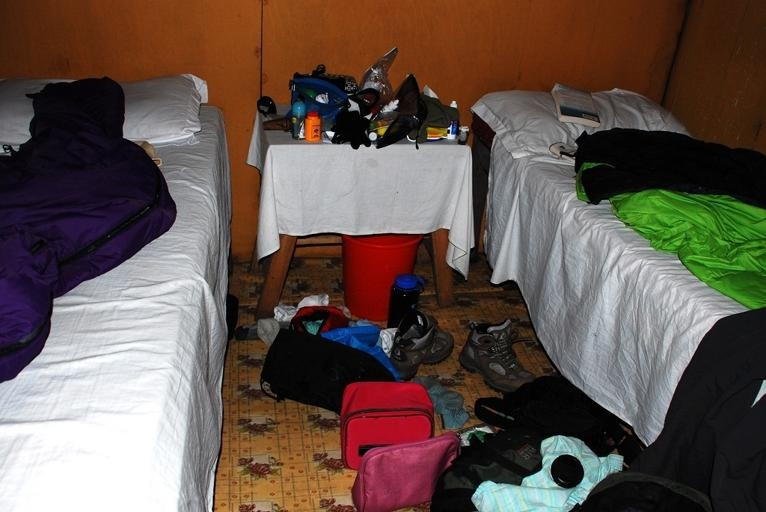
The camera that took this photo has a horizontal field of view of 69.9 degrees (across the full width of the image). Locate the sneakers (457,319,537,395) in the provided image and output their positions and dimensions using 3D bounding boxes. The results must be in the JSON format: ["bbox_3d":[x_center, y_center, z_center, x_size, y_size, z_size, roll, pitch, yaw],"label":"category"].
[{"bbox_3d":[0.516,0.455,2.469,0.159,0.252,0.390,-20,36,-39],"label":"sneakers"}]

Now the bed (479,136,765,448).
[{"bbox_3d":[0.801,0.112,2.256,0.656,0.311,1.045,-13,55,-7],"label":"bed"}]

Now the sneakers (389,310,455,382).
[{"bbox_3d":[0.170,0.392,2.555,0.220,0.230,0.470,21,21,34],"label":"sneakers"}]

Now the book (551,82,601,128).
[{"bbox_3d":[0.984,-0.722,2.827,0.202,0.067,0.299,8,45,-10],"label":"book"}]

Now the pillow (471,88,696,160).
[{"bbox_3d":[1.016,-0.715,2.818,0.722,0.159,0.528,-11,45,-11],"label":"pillow"}]

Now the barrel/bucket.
[{"bbox_3d":[0.000,0.044,2.884,0.410,0.456,0.430,3,32,-2],"label":"barrel/bucket"}]

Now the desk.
[{"bbox_3d":[-0.108,-0.379,2.982,0.967,0.748,1.016,0,33,-3],"label":"desk"}]

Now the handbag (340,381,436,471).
[{"bbox_3d":[0.015,0.608,2.053,0.390,0.286,0.279,-1,20,-9],"label":"handbag"}]

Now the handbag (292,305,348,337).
[{"bbox_3d":[-0.286,0.287,2.491,0.152,0.055,0.139,-5,28,-12],"label":"handbag"}]

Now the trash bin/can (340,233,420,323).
[{"bbox_3d":[-0.052,0.046,2.899,0.415,0.454,0.418,-12,32,-26],"label":"trash bin/can"}]
